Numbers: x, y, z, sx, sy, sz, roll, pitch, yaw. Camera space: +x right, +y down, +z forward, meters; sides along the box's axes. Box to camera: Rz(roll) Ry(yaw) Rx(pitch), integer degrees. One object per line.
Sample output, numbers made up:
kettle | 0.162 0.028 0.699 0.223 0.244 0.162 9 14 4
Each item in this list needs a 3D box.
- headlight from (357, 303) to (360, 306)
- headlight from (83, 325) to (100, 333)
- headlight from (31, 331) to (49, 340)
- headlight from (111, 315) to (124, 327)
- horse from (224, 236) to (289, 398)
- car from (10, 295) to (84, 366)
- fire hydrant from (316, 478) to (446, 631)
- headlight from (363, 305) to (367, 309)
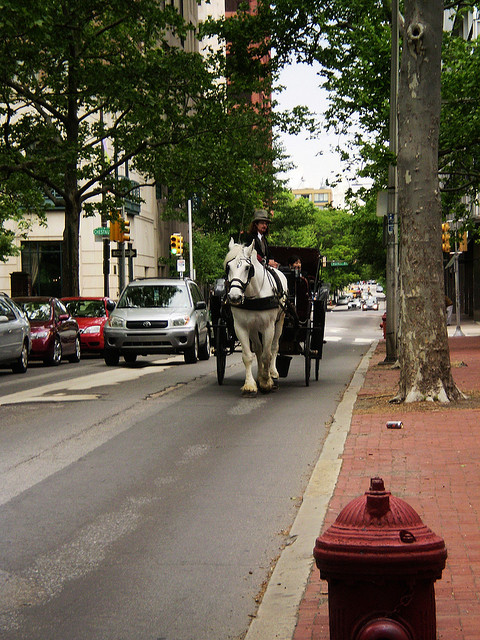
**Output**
headlight | 18.326 -2.474 118.008 0.288 0.471 0.206 0 5 1
headlight | -4.793 0.280 24.438 0.493 0.240 0.103 -3 2 -29
headlight | -5.333 0.398 20.117 0.406 0.197 0.114 -3 2 -16
headlight | -3.120 0.034 19.149 0.193 0.275 0.422 -3 1 -43
horse | 0.352 0.052 12.626 0.556 2.543 2.623 2 1 18
car | -5.396 0.317 21.352 1.009 1.398 2.396 -1 -6 6
fire hydrant | 0.392 0.668 2.126 0.359 0.448 0.226 -1 1 20
headlight | 16.853 -1.816 102.601 0.598 0.514 0.385 -1 1 30
